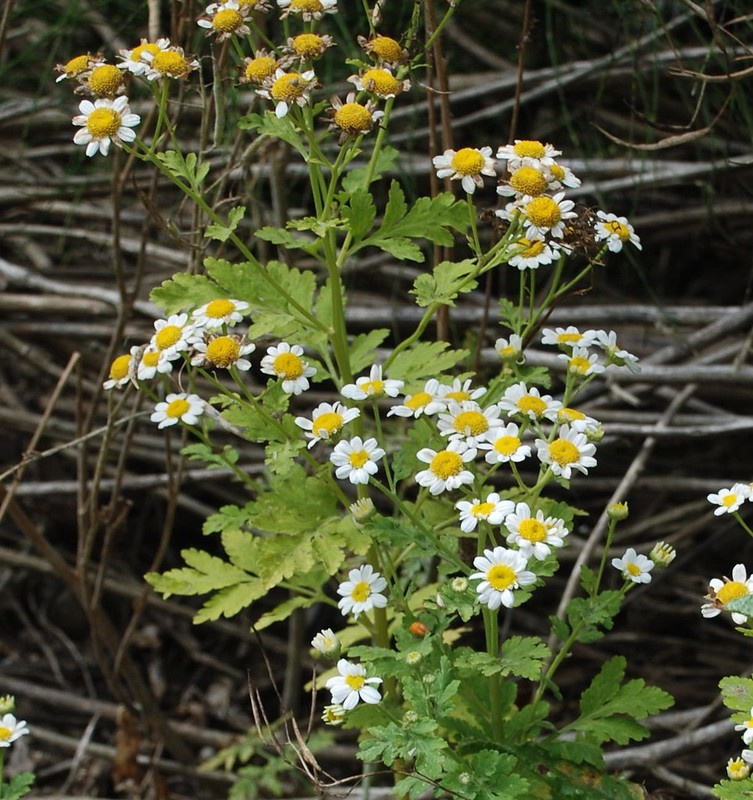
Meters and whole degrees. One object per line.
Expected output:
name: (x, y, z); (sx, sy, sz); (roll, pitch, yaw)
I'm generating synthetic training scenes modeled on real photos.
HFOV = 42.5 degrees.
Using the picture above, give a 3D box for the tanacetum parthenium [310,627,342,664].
tanacetum parthenium: (-0.107, 0.512, 2.037); (0.047, 0.062, 0.070); (-14, 38, -15)
